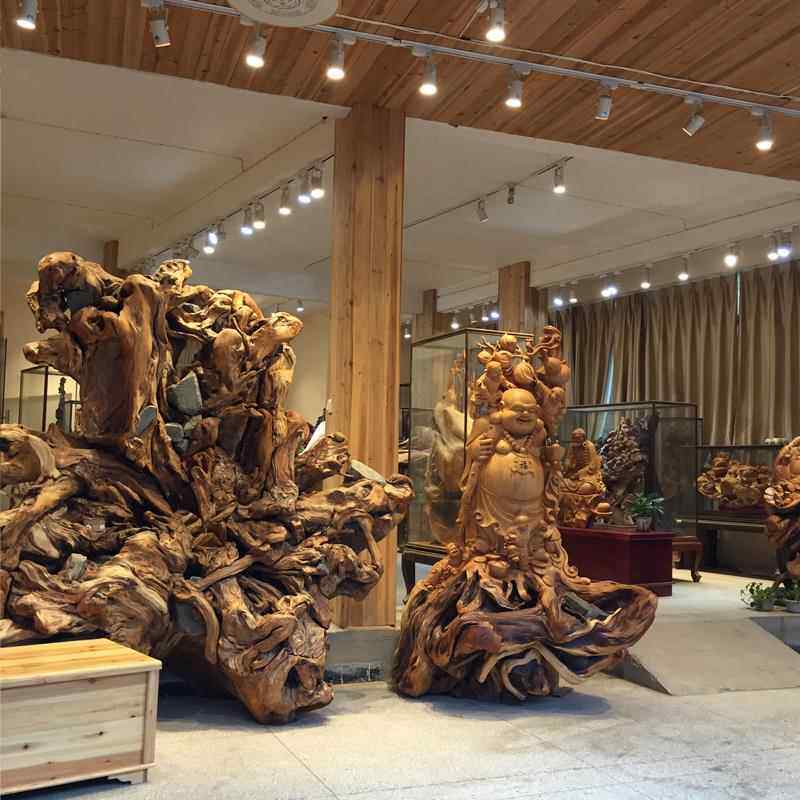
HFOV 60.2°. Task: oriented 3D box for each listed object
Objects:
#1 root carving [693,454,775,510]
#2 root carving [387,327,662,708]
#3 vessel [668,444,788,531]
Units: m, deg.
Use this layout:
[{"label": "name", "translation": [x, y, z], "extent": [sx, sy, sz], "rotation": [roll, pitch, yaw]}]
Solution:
[{"label": "root carving", "translation": [3.216, 0.707, 6.798], "extent": [0.645, 0.271, 0.696], "rotation": [-5, 6, 12]}, {"label": "root carving", "translation": [0.615, 0.577, 3.419], "extent": [1.397, 1.581, 1.051], "rotation": [7, 6, 29]}, {"label": "vessel", "translation": [3.148, 0.798, 6.912], "extent": [1.373, 1.053, 0.714], "rotation": [5, -7, -15]}]
